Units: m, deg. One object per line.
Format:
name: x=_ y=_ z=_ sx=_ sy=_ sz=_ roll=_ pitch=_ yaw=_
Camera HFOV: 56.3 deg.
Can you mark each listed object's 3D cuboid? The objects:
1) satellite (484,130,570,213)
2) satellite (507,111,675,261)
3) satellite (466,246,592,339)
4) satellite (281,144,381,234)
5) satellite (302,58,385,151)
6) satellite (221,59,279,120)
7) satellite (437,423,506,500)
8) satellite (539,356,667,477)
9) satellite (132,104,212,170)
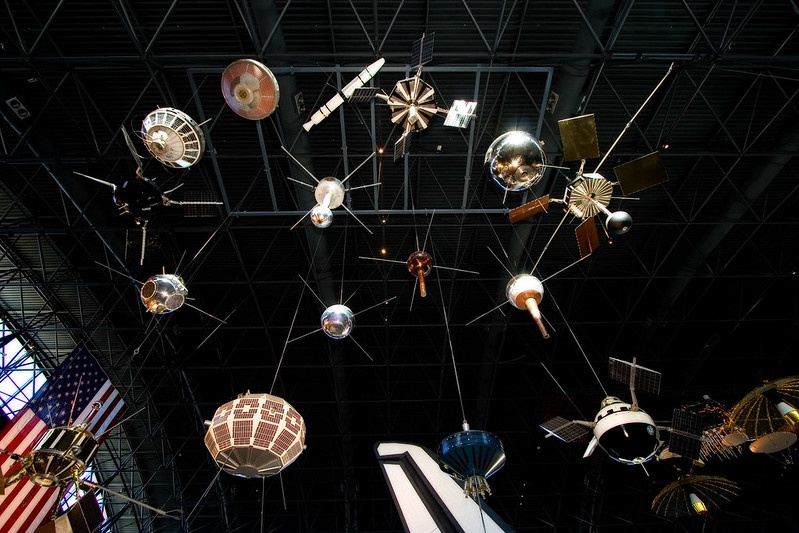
satellite: x=3.419 y=-3.189 z=22.353 sx=1.683 sy=0.883 sz=1.589 roll=-27 pitch=-61 yaw=9
satellite: x=6.069 y=-2.547 z=23.672 sx=4.666 sy=2.284 sz=4.744 roll=-43 pitch=-76 yaw=5
satellite: x=3.777 y=1.471 z=24.071 sx=3.622 sy=1.765 sz=3.568 roll=15 pitch=-61 yaw=-10
satellite: x=-2.421 y=-2.297 z=25.620 sx=2.306 sy=4.689 sz=2.617 roll=-8 pitch=-60 yaw=-2
satellite: x=-1.936 y=-5.559 z=25.007 sx=4.133 sy=0.699 sz=0.849 roll=-37 pitch=-58 yaw=24
satellite: x=-4.333 y=-5.155 z=21.635 sx=1.452 sy=0.723 sz=1.633 roll=-36 pitch=-63 yaw=13
satellite: x=1.971 y=5.381 z=20.523 sx=1.754 sy=1.908 sz=1.334 roll=-11 pitch=-60 yaw=0
satellite: x=6.678 y=5.145 z=24.129 sx=3.848 sy=2.580 sz=3.673 roll=-2 pitch=-58 yaw=5
satellite: x=-6.797 y=-3.739 z=22.159 sx=1.759 sy=1.241 sz=1.739 roll=22 pitch=-59 yaw=1
